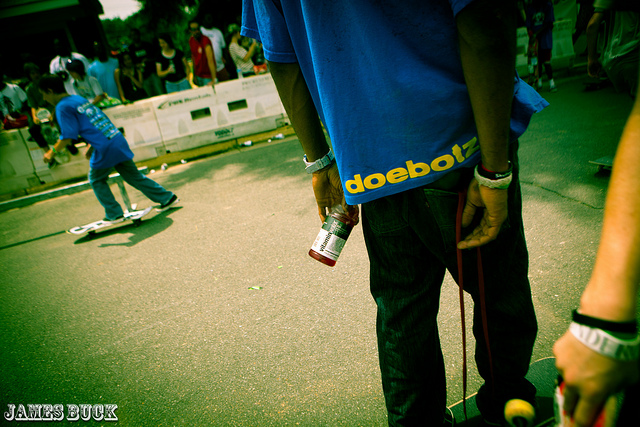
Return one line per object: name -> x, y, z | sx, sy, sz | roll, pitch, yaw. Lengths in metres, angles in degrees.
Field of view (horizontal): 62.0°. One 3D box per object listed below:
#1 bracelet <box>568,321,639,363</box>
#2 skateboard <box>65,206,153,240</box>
bracelet -> 1.353, 0.614, 2.547 | 0.236, 0.058, 0.173 | 19, 15, 13
skateboard -> -2.819, 0.134, 7.220 | 0.853, 0.136, 0.224 | -15, 41, -12
